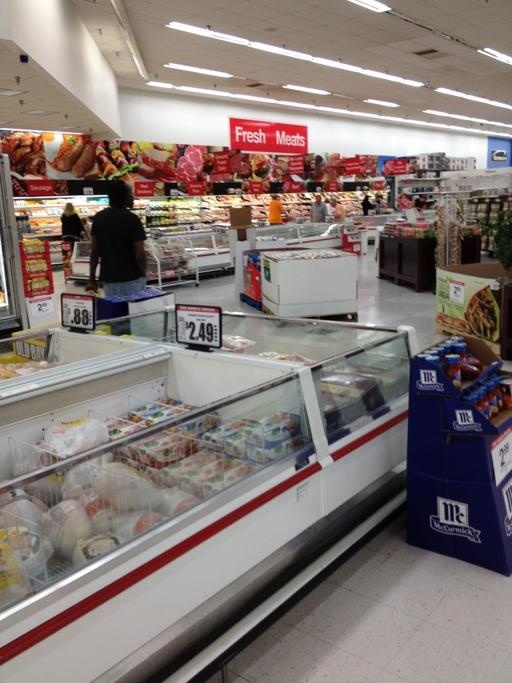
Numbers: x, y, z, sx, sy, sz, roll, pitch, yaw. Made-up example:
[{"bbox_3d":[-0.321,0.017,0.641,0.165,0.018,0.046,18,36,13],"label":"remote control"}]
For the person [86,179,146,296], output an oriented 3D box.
[{"bbox_3d":[-1.236,-0.888,4.077,0.498,0.940,0.342,-5,5,-11],"label":"person"}]
